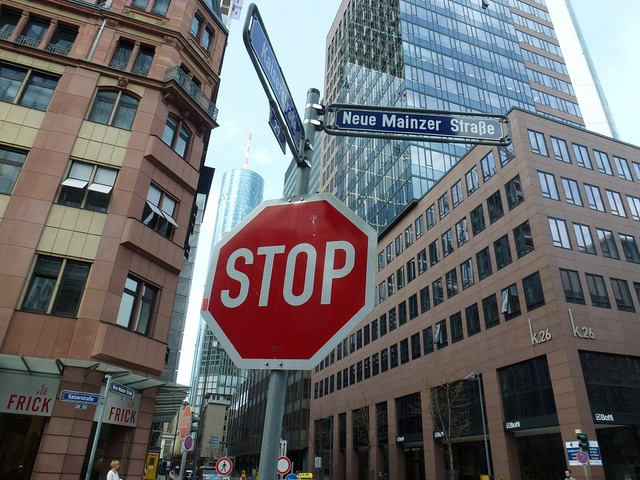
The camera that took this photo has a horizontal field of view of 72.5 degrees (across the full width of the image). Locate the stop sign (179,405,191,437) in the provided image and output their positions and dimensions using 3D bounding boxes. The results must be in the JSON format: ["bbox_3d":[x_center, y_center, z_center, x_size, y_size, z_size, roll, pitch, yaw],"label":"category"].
[{"bbox_3d":[-5.964,8.023,19.404,0.388,1.185,1.432,10,-30,-15],"label":"stop sign"}]

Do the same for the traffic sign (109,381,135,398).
[{"bbox_3d":[-7.593,5.740,16.837,0.711,0.564,2.032,10,-32,-15],"label":"traffic sign"}]

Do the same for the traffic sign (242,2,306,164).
[{"bbox_3d":[-0.762,-2.553,7.252,0.251,1.880,1.807,-12,-32,25],"label":"traffic sign"}]
